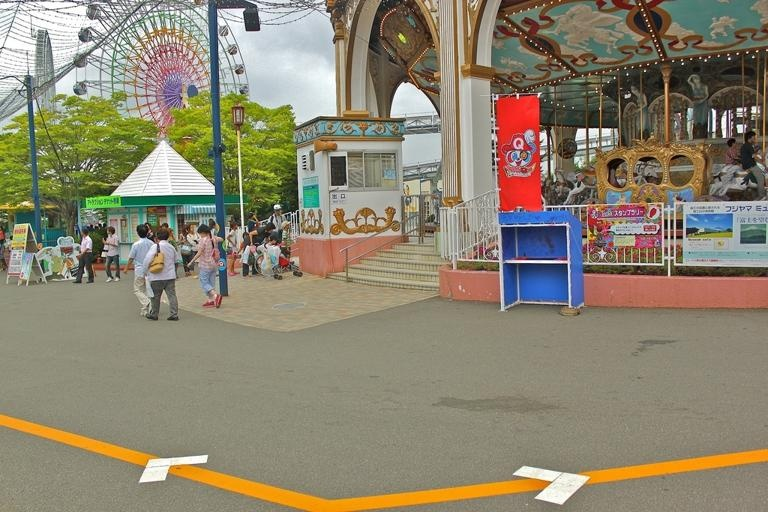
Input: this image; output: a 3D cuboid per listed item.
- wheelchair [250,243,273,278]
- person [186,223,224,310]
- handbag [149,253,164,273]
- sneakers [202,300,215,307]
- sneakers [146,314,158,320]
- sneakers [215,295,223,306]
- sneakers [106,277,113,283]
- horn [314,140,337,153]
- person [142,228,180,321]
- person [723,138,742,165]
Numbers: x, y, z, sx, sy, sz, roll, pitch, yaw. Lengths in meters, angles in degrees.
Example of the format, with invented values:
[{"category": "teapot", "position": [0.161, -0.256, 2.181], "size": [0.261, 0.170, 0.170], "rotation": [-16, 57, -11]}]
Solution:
[{"category": "wheelchair", "position": [-4.034, 0.211, 20.995], "size": [0.614, 0.718, 0.826], "rotation": [-18, 29, -15]}, {"category": "person", "position": [-4.209, 0.276, 14.990], "size": [0.554, 2.037, 0.772], "rotation": [-5, 11, -16]}, {"category": "handbag", "position": [-4.980, 0.167, 13.764], "size": [0.318, 0.420, 0.258], "rotation": [-6, 11, -18]}, {"category": "sneakers", "position": [-4.271, 1.186, 15.370], "size": [0.292, 0.141, 0.141], "rotation": [3, 1, 15]}, {"category": "sneakers", "position": [-5.140, 1.366, 13.992], "size": [0.277, 0.122, 0.101], "rotation": [16, 1, 11]}, {"category": "sneakers", "position": [-3.997, 1.090, 15.223], "size": [0.125, 0.299, 0.106], "rotation": [18, 24, 34]}, {"category": "sneakers", "position": [-9.767, 0.883, 22.297], "size": [0.153, 0.185, 0.453], "rotation": [0, -3, -7]}, {"category": "horn", "position": [-1.804, -3.369, 19.617], "size": [0.703, 0.357, 0.314], "rotation": [-3, 11, -7]}, {"category": "person", "position": [-4.941, 0.434, 13.945], "size": [0.771, 1.976, 0.952], "rotation": [-5, 11, -18]}, {"category": "person", "position": [10.681, -3.163, 19.257], "size": [0.375, 0.732, 2.876], "rotation": [4, 13, 29]}]
